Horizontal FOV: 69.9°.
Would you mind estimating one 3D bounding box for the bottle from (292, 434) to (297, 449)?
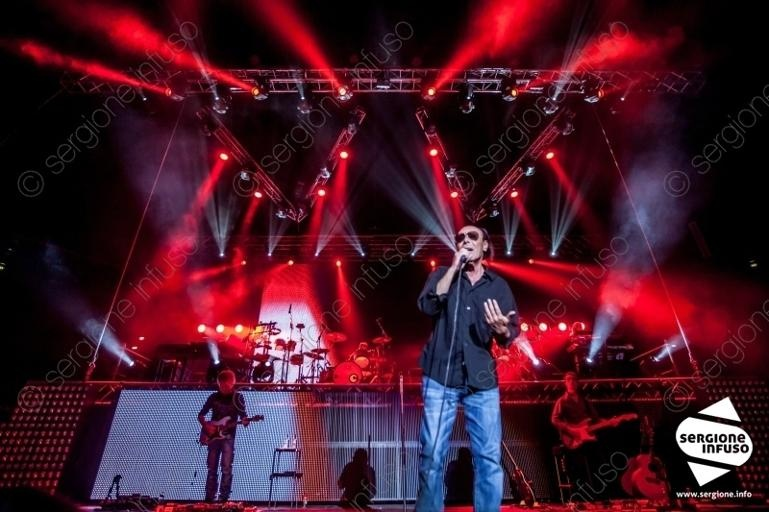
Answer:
[{"bbox_3d":[-1.405,2.910,8.614,0.096,0.196,0.022,-2,-26,6],"label":"bottle"}]

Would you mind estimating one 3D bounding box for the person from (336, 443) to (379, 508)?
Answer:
[{"bbox_3d":[-0.420,3.395,8.446,0.568,0.830,0.142,2,-26,-1],"label":"person"}]

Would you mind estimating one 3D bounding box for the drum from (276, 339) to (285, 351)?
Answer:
[{"bbox_3d":[-2.204,1.911,11.853,0.226,0.257,0.263,-4,-5,35],"label":"drum"}]

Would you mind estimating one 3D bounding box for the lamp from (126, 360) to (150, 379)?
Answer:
[{"bbox_3d":[-4.990,2.333,11.063,0.424,0.414,0.101,19,-15,-3],"label":"lamp"}]

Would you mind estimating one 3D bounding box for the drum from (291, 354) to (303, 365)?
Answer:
[{"bbox_3d":[-1.843,2.187,11.610,0.219,0.175,0.230,1,-7,0],"label":"drum"}]

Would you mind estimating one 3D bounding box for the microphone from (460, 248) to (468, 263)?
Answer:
[{"bbox_3d":[0.929,-0.001,6.454,0.091,0.132,0.040,-3,-13,9],"label":"microphone"}]

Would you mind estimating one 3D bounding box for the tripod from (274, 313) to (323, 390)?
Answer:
[{"bbox_3d":[-2.120,2.047,12.089,1.421,1.535,1.207,0,-13,-1],"label":"tripod"}]

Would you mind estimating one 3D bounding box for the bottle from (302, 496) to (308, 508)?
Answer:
[{"bbox_3d":[-1.189,3.703,8.283,0.074,0.153,0.114,5,-27,-8],"label":"bottle"}]

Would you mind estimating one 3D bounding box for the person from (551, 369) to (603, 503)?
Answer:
[{"bbox_3d":[3.092,2.990,8.819,0.790,1.758,0.385,12,-28,-20],"label":"person"}]

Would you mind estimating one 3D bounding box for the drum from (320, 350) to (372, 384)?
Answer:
[{"bbox_3d":[-0.800,2.280,11.340,0.995,0.794,0.598,7,-27,-10],"label":"drum"}]

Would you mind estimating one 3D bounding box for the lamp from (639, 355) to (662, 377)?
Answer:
[{"bbox_3d":[5.049,2.076,10.457,0.288,0.401,0.140,-10,-65,15],"label":"lamp"}]

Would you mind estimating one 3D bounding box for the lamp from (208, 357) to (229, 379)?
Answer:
[{"bbox_3d":[-3.303,2.216,10.799,0.389,0.192,0.555,2,14,-9],"label":"lamp"}]

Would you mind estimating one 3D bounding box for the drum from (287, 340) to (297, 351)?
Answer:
[{"bbox_3d":[-1.995,1.929,11.792,0.203,0.222,0.226,5,-44,-6],"label":"drum"}]
